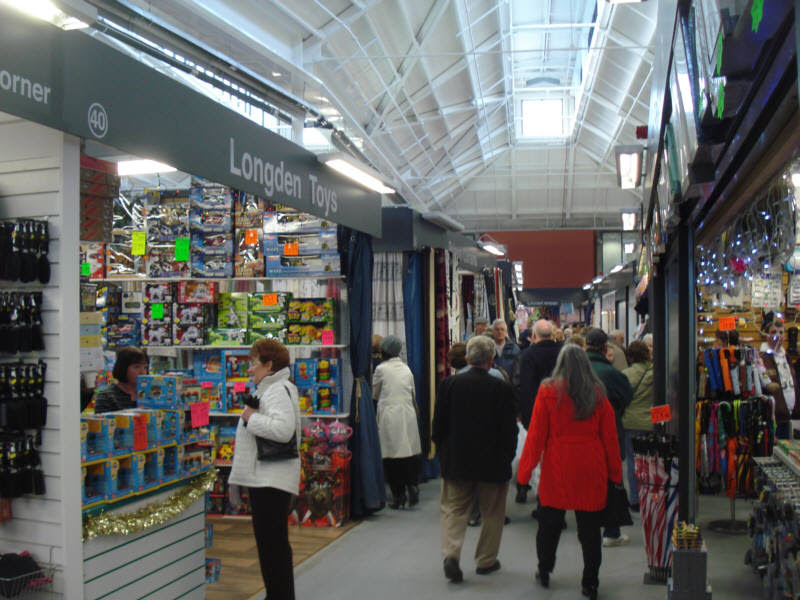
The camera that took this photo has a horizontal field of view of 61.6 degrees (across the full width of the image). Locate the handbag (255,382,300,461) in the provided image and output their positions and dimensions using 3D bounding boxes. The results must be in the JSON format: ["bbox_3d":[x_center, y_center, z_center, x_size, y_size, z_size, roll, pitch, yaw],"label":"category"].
[{"bbox_3d":[-0.816,0.795,4.363,0.280,0.557,0.067,-4,23,-12],"label":"handbag"}]

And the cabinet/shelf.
[{"bbox_3d":[-1.508,0.929,5.604,2.116,2.129,0.769,-1,-6,2],"label":"cabinet/shelf"}]

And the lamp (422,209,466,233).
[{"bbox_3d":[0.590,-1.102,9.099,0.390,0.240,1.430,-1,-2,13],"label":"lamp"}]

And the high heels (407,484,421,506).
[{"bbox_3d":[0.148,2.169,7.484,0.079,0.251,0.097,1,-3,-13],"label":"high heels"}]

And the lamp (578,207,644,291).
[{"bbox_3d":[6.853,-1.717,22.206,2.765,2.963,1.490,-1,-1,-36],"label":"lamp"}]

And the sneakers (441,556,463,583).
[{"bbox_3d":[0.404,2.103,5.200,0.089,0.251,0.108,-6,25,3],"label":"sneakers"}]

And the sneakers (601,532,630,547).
[{"bbox_3d":[1.964,2.178,6.137,0.258,0.123,0.090,-6,4,-28],"label":"sneakers"}]

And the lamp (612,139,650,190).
[{"bbox_3d":[3.045,-1.739,8.701,0.419,0.611,0.380,-6,10,-29],"label":"lamp"}]

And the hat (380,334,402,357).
[{"bbox_3d":[-0.110,0.535,7.462,0.198,0.226,0.229,18,10,-15],"label":"hat"}]

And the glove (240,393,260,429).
[{"bbox_3d":[-1.012,0.742,4.503,0.145,0.232,0.077,12,2,33],"label":"glove"}]
